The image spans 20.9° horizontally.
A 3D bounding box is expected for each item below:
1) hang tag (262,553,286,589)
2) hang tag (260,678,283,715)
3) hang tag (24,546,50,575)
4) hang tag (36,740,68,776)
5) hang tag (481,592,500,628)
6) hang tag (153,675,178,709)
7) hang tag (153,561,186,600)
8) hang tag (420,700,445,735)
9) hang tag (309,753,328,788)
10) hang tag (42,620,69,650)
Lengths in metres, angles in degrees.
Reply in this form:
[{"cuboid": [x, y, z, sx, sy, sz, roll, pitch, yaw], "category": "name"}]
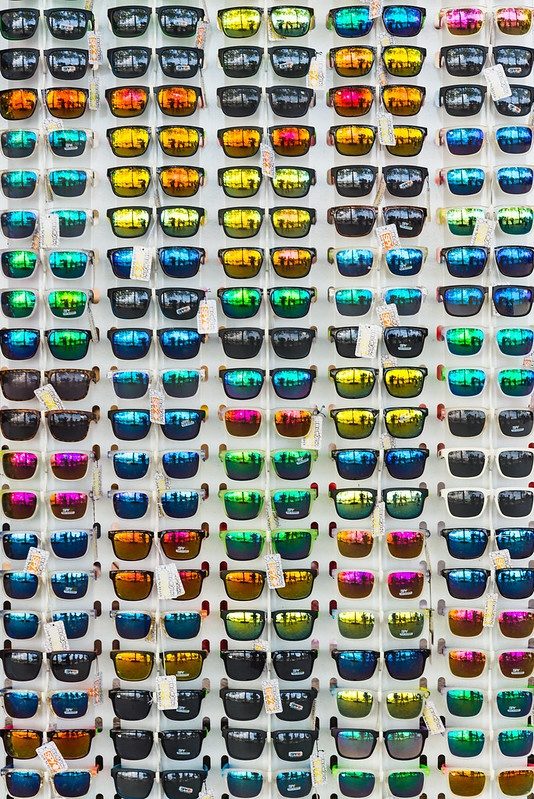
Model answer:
[{"cuboid": [0.018, 0.420, 3.539, 0.053, 0.080, 0.037, 3, 17, -2], "category": "hang tag"}, {"cuboid": [0.013, 0.731, 3.543, 0.049, 0.096, 0.044, -2, 17, -15], "category": "hang tag"}, {"cuboid": [-0.574, 0.398, 3.581, 0.042, 0.072, 0.062, 11, -8, -1], "category": "hang tag"}, {"cuboid": [-0.535, 0.876, 3.561, 0.086, 0.080, 0.040, 10, 18, 17], "category": "hang tag"}, {"cuboid": [0.556, 0.518, 3.599, 0.032, 0.086, 0.076, 8, 19, 16], "category": "hang tag"}, {"cuboid": [-0.247, 0.707, 3.523, 0.060, 0.118, 0.011, -1, 2, 0], "category": "hang tag"}, {"cuboid": [-0.242, 0.442, 3.543, 0.050, 0.075, 0.022, -23, -5, -3], "category": "hang tag"}, {"cuboid": [0.407, 0.780, 3.565, 0.052, 0.089, 0.010, -16, -19, -13], "category": "hang tag"}, {"cuboid": [0.126, 0.901, 3.555, 0.041, 0.070, 0.042, -2, 18, -15], "category": "hang tag"}, {"cuboid": [-0.522, 0.576, 3.554, 0.044, 0.080, 0.019, -2, 7, 6], "category": "hang tag"}]
